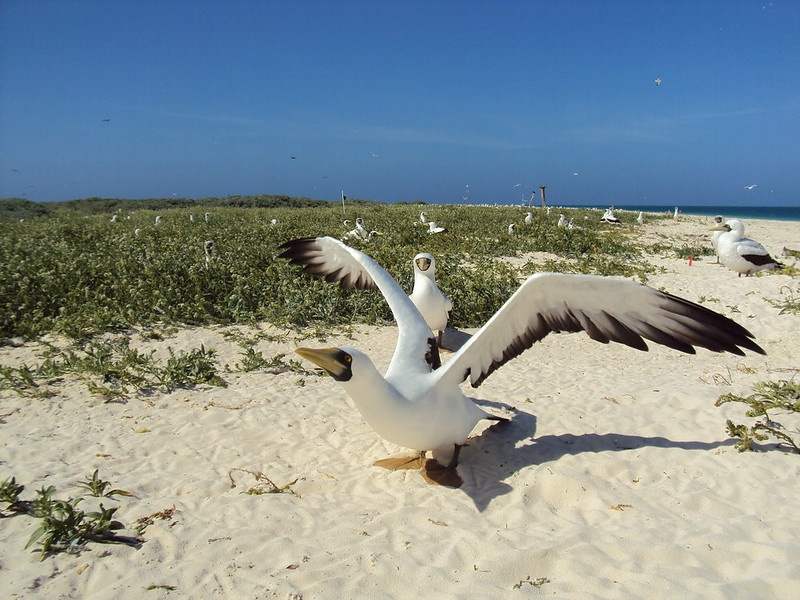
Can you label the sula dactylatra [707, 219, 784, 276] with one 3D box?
[{"bbox_3d":[8.340,-1.227,15.107,1.855,1.372,0.920,0,5,-8],"label":"sula dactylatra"}]
